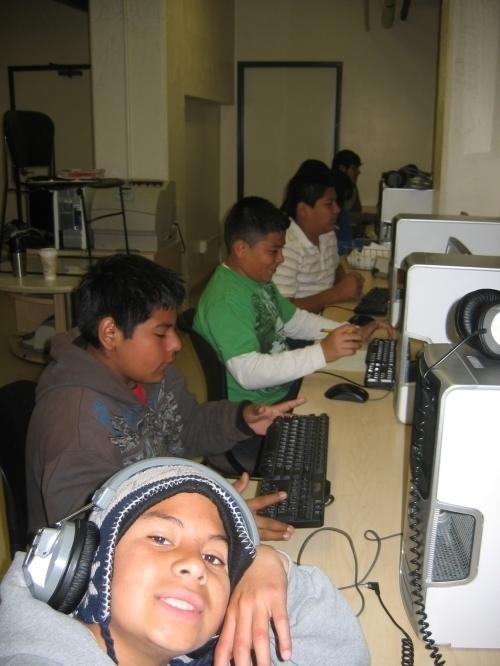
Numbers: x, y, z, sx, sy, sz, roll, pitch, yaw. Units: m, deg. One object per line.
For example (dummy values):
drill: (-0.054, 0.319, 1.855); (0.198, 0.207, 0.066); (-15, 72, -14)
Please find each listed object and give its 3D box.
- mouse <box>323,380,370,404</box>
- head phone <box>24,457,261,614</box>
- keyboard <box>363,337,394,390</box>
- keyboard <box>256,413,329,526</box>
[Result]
mouse: (0.311, 0.189, 1.684); (0.105, 0.035, 0.065); (0, 18, 21)
head phone: (-0.126, 0.234, 0.607); (0.214, 0.183, 0.084); (26, 13, -41)
keyboard: (0.473, 0.125, 1.881); (0.104, 0.030, 0.348); (1, 25, 18)
keyboard: (0.098, 0.319, 1.219); (0.120, 0.050, 0.312); (-3, 26, 11)
